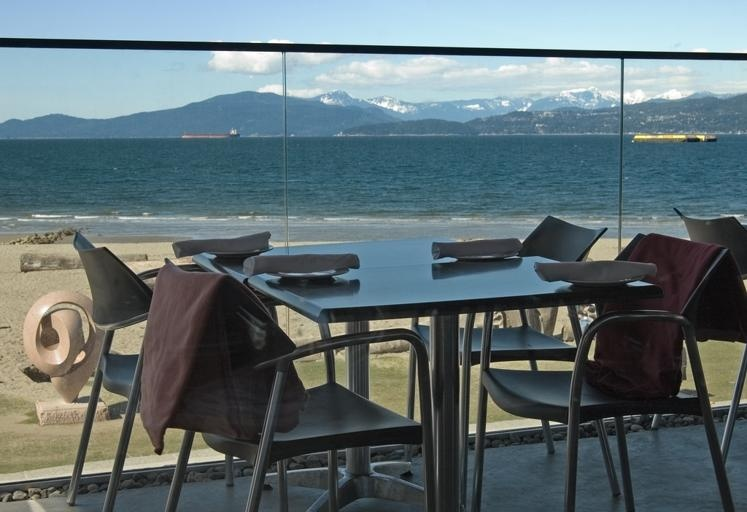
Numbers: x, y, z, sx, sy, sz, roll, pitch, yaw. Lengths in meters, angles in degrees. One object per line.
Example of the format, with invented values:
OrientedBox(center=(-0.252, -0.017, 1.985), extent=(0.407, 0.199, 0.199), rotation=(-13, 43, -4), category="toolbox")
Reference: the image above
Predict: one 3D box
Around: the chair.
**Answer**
OrientedBox(center=(0.237, 0.502, 2.954), extent=(2.088, 1.207, 1.240), rotation=(-4, 6, -14), category="chair")

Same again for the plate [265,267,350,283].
OrientedBox(center=(-0.228, 0.065, 2.636), extent=(0.269, 0.035, 0.099), rotation=(-3, 5, -7), category="plate")
